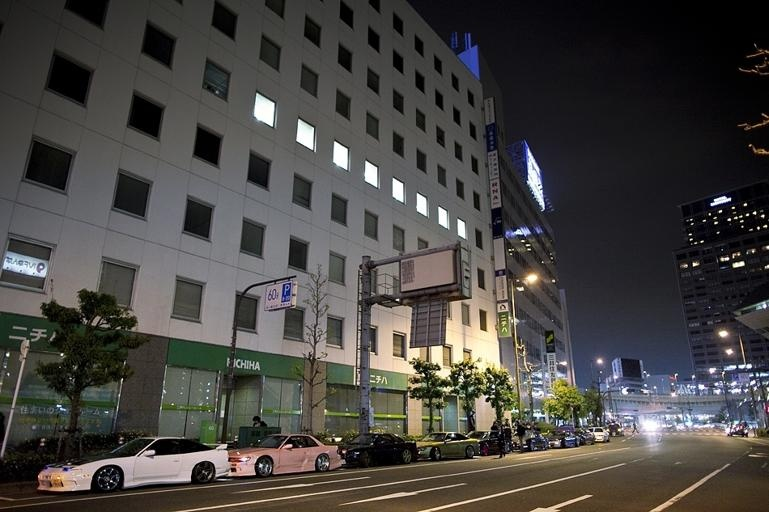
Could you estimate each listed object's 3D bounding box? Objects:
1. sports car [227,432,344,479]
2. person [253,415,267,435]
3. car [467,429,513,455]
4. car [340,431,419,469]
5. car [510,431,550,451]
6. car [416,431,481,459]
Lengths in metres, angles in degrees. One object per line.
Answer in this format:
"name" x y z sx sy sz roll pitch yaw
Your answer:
"sports car" -5.042 10.059 25.526 5.677 1.911 0.698 13 -26 -35
"person" -7.789 10.528 31.495 0.664 0.373 0.932 18 -12 -24
"car" 7.855 14.365 38.525 1.686 1.201 3.629 -22 -37 40
"car" -0.391 11.664 30.234 4.234 1.393 1.968 21 -30 -38
"car" 12.828 16.003 43.804 1.746 1.319 4.075 -16 -29 33
"car" 4.147 13.166 34.574 3.579 1.103 1.955 14 -25 -27
